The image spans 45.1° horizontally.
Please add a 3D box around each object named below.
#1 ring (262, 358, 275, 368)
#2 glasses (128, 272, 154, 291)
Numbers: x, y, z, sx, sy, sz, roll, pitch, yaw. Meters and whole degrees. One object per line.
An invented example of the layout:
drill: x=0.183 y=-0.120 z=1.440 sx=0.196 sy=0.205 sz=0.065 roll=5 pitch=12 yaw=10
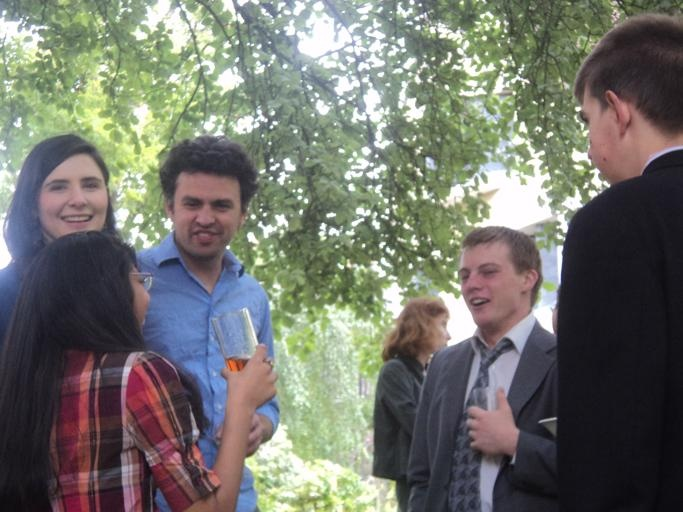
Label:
ring: x=-0.295 y=0.441 z=3.336 sx=0.035 sy=0.018 sz=0.045 roll=28 pitch=-7 yaw=43
glasses: x=-0.791 y=0.090 z=3.239 sx=0.102 sy=0.030 sz=0.103 roll=-5 pitch=-10 yaw=22
